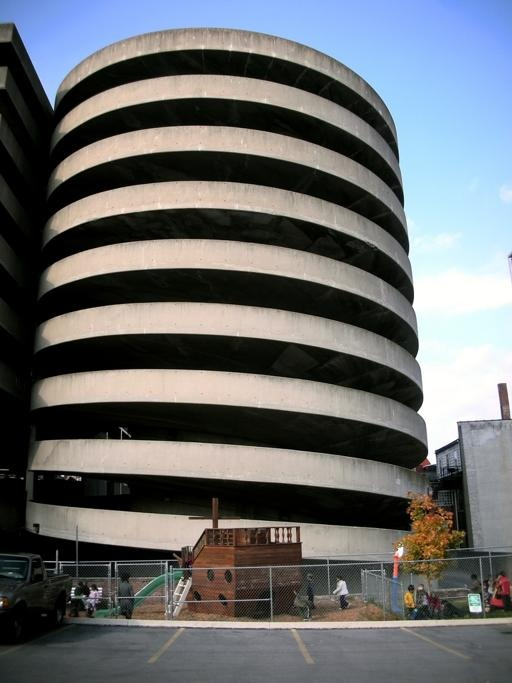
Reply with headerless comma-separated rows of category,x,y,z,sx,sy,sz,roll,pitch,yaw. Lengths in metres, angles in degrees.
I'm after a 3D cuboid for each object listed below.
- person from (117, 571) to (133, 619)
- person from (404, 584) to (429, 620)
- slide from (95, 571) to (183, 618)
person,-3.209,6.258,16.101,0.345,1.035,1.857,3,-15,-11
person,4.054,6.561,16.580,0.594,0.768,2.513,-3,-16,12
slide,-3.265,7.484,19.440,0.340,1.098,2.443,-10,-22,37
